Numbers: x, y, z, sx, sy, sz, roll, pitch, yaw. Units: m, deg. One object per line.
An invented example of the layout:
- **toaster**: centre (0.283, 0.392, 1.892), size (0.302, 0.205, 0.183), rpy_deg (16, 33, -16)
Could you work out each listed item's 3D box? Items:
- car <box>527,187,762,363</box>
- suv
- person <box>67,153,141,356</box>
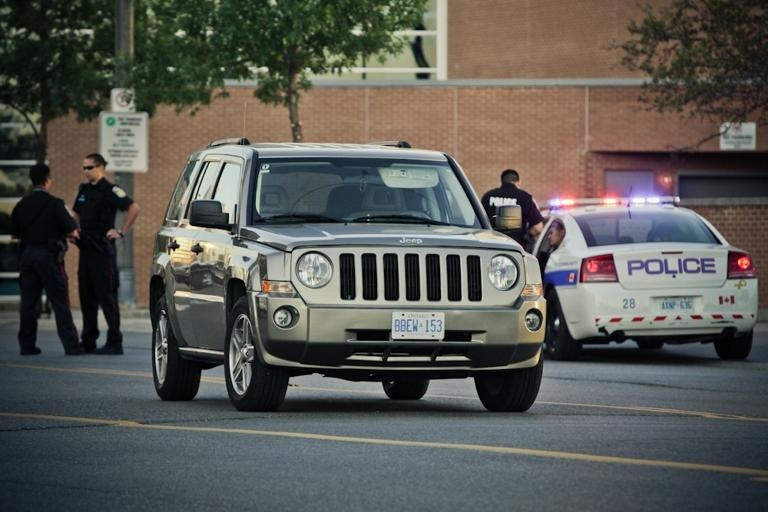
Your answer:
- **car**: centre (4.022, 0.344, 17.515), size (3.175, 2.461, 1.770), rpy_deg (0, 1, 13)
- **suv**: centre (-0.463, 0.154, 12.125), size (4.295, 2.937, 2.305), rpy_deg (0, 1, 12)
- **person**: centre (-4.404, -0.051, 17.891), size (0.879, 3.132, 0.789), rpy_deg (0, 1, -15)
